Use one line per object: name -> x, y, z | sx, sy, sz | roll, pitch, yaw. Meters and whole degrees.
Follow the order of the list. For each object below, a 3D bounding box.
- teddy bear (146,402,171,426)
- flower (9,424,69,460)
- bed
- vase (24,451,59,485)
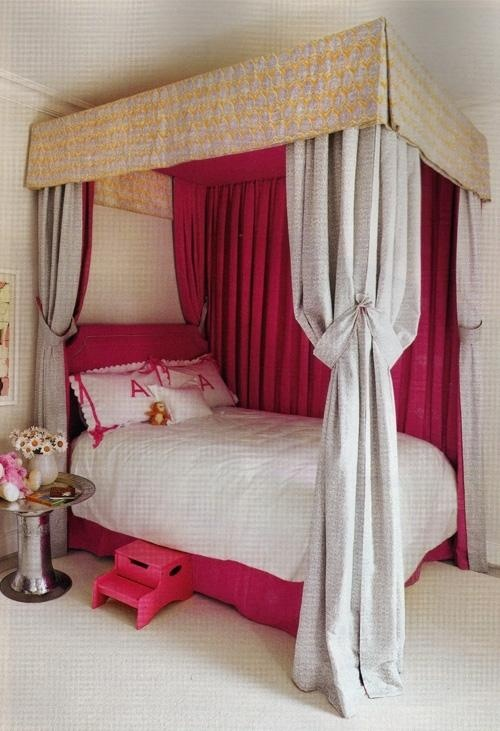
teddy bear -> -0.409, 0.211, 3.155 | 0.047, 0.079, 0.083 | -20, -22, 33
flower -> -0.822, 0.280, 2.789 | 0.177, 0.084, 0.150 | 3, 4, 21
bed -> -0.109, 0.268, 3.031 | 1.329, 0.805, 1.317 | 9, 9, 35
vase -> -0.808, 0.393, 2.766 | 0.121, 0.110, 0.120 | 0, -3, -18
